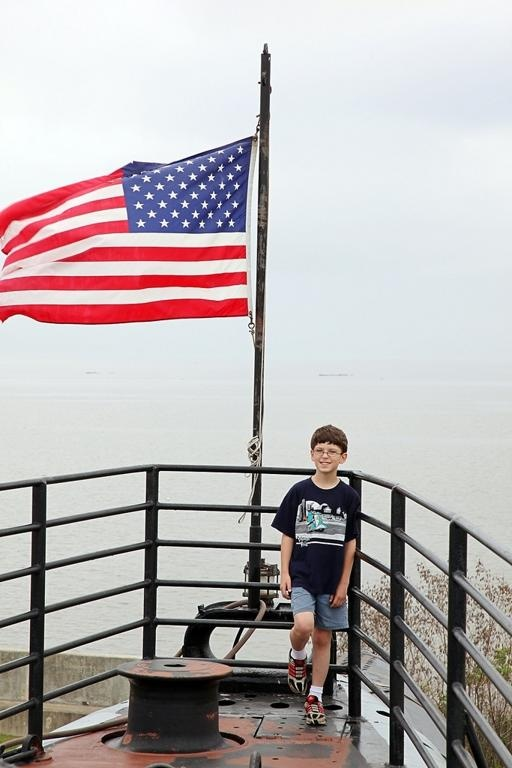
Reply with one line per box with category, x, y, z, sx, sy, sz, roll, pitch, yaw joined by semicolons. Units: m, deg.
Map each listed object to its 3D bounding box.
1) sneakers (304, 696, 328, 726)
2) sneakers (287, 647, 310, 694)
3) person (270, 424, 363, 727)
sneakers;0.253;1.405;4.720;0.090;0.117;0.140;3;1;4
sneakers;0.175;1.267;4.745;0.067;0.227;0.093;-2;-28;-4
person;0.275;0.831;4.771;0.446;1.066;0.343;2;1;-37
